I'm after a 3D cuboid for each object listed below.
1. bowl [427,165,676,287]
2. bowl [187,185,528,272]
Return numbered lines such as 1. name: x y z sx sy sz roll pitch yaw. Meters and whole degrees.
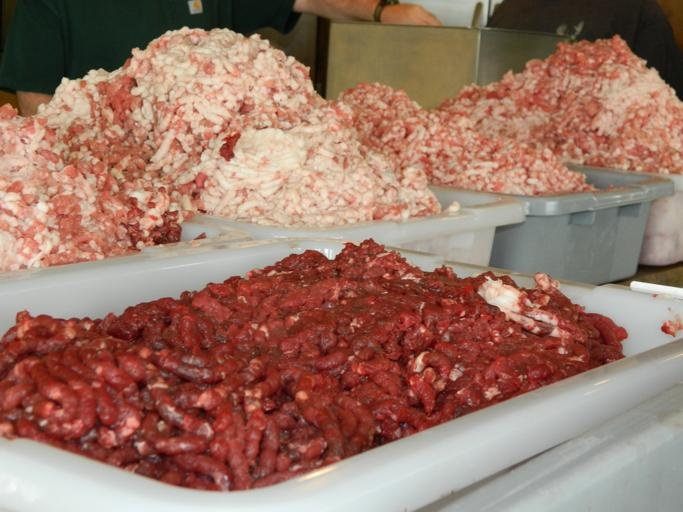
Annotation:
1. bowl: 0.748 -0.055 1.922 0.485 0.261 0.595 -10 2 -21
2. bowl: 0.169 -0.068 1.390 0.355 0.147 0.494 8 10 44
